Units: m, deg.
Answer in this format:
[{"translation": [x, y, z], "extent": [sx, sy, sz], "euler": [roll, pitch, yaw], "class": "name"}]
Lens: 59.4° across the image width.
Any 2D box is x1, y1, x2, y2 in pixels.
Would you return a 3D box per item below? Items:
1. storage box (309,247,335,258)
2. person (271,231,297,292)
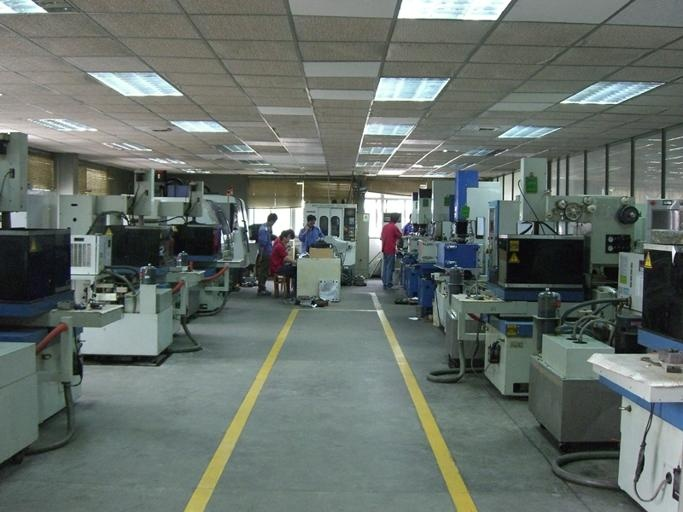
[{"translation": [-0.380, -0.054, 11.588], "extent": [0.419, 0.170, 0.122], "euler": [-1, 12, -8], "class": "storage box"}, {"translation": [-1.150, 0.147, 11.833], "extent": [0.503, 1.257, 0.944], "euler": [0, 12, -7], "class": "person"}]
